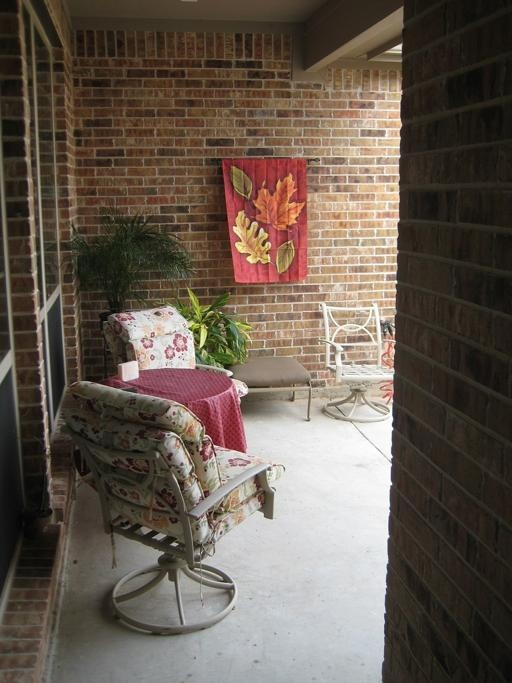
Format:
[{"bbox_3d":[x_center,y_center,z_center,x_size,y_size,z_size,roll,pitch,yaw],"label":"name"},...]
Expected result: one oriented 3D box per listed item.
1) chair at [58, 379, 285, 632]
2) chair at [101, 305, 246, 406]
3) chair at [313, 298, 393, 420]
[{"bbox_3d":[-0.302,0.636,2.395,0.667,1.019,0.873,4,9,18],"label":"chair"},{"bbox_3d":[-0.595,0.237,3.977,0.625,0.710,0.922,-9,22,-36],"label":"chair"},{"bbox_3d":[0.979,0.171,5.264,0.702,1.057,0.695,-4,5,-30],"label":"chair"}]
